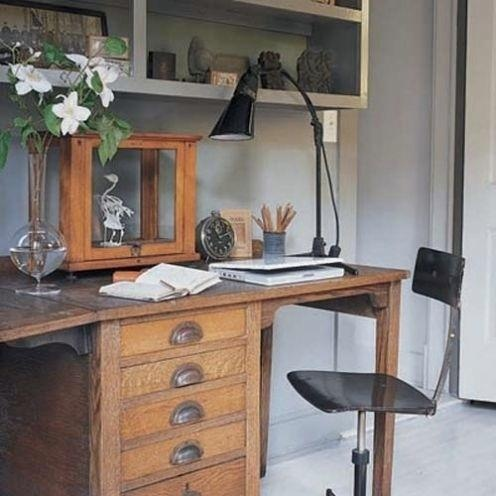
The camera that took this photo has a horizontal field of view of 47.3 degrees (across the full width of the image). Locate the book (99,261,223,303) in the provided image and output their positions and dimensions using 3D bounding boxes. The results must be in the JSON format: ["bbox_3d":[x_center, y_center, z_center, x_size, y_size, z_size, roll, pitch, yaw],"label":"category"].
[{"bbox_3d":[-0.207,0.083,1.427,0.196,0.055,0.292,2,6,32],"label":"book"}]

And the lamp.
[{"bbox_3d":[0.103,-0.264,1.914,0.488,0.675,0.484,-2,4,-27],"label":"lamp"}]

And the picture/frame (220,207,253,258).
[{"bbox_3d":[-0.048,-0.051,2.121,0.161,0.223,0.024,7,-14,-43],"label":"picture/frame"}]

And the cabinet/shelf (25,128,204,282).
[{"bbox_3d":[-0.371,-0.135,1.888,0.389,0.585,0.620,3,5,43],"label":"cabinet/shelf"}]

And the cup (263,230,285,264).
[{"bbox_3d":[0.085,-0.009,1.895,0.084,0.138,0.090,1,1,0],"label":"cup"}]
